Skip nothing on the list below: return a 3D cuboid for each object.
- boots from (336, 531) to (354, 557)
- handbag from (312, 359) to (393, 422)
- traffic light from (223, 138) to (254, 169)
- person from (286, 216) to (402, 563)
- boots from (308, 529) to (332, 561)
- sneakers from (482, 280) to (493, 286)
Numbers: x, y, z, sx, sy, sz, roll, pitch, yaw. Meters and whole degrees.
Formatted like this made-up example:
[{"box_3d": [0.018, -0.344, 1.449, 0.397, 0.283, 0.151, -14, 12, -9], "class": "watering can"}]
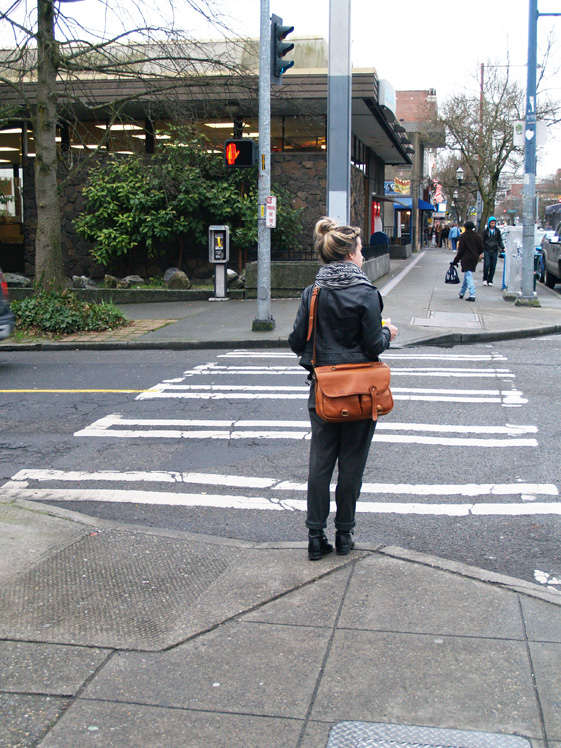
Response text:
[{"box_3d": [0.335, 0.865, 4.061, 0.052, 0.110, 0.152, 2, 11, 16], "class": "boots"}, {"box_3d": [0.344, 0.085, 3.859, 0.471, 0.392, 0.241, -2, -6, -19], "class": "handbag"}, {"box_3d": [-0.752, -4.007, 14.197, 0.516, 0.499, 0.379, 1, 7, 3], "class": "traffic light"}, {"box_3d": [0.299, 0.078, 3.919, 0.522, 1.707, 0.438, 1, 6, 7], "class": "person"}, {"box_3d": [0.194, 0.859, 3.987, 0.070, 0.140, 0.182, 4, 13, 24], "class": "boots"}, {"box_3d": [6.095, -2.679, 23.195, 0.152, 0.170, 0.385, -3, 7, -28], "class": "sneakers"}]
